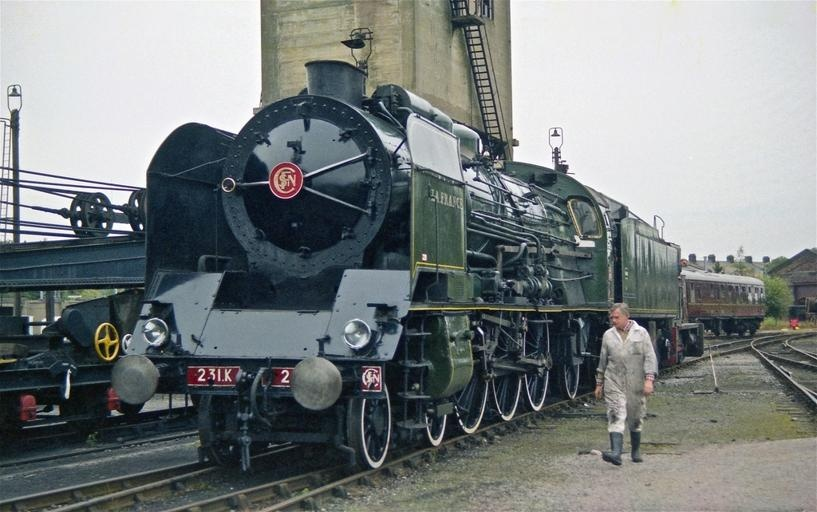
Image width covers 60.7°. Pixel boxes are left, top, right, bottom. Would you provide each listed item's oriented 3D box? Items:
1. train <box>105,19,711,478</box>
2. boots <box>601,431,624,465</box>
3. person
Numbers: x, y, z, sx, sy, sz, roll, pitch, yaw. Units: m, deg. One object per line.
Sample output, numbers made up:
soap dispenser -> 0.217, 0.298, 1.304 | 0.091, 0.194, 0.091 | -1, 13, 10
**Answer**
train -> 1.206, 0.839, 18.043 | 5.550, 7.804, 18.678 | -4, -7, 28
boots -> 3.209, 3.015, 11.000 | 0.332, 0.539, 0.404 | -5, -5, 16
person -> 3.421, 2.001, 10.965 | 0.934, 2.532, 0.663 | -5, -5, 17
